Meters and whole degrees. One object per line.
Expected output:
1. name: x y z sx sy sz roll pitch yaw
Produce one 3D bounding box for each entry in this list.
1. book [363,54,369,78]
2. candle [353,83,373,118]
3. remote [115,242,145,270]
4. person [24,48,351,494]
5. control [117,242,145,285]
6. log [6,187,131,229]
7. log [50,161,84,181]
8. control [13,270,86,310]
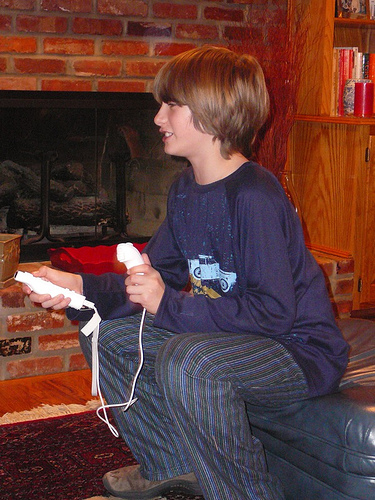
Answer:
1. book: 0.828 -0.851 2.074 0.041 0.097 0.012 0 3 -32
2. candle: 0.775 -0.657 1.975 0.079 0.148 0.047 3 3 14
3. remote: -0.100 0.006 0.789 0.052 0.033 0.021 52 13 4
4. person: 0.048 0.034 1.283 0.916 1.160 0.730 2 -3 -18
5. control: -0.095 0.028 0.760 0.052 0.048 0.024 48 28 15
6. log: -0.522 -0.167 1.892 0.344 0.094 0.186 0 5 -36
7. log: -0.500 -0.323 1.860 0.123 0.065 0.046 -7 26 -21
8. control: -0.277 0.074 0.838 0.040 0.066 0.205 39 2 12
